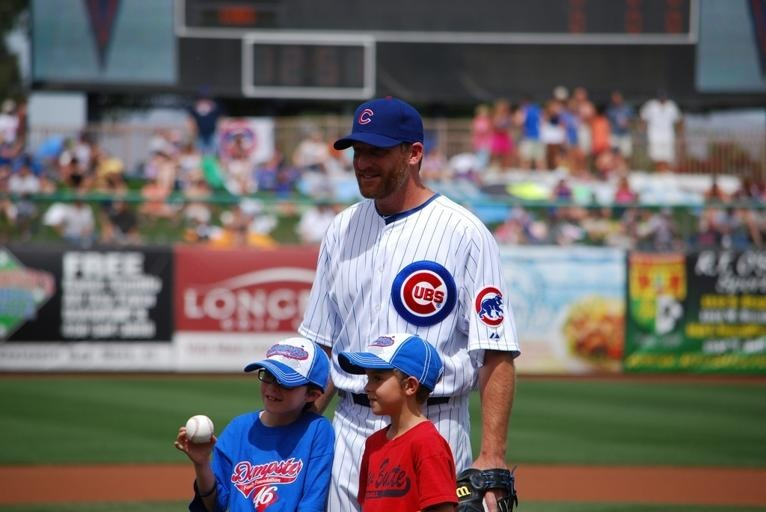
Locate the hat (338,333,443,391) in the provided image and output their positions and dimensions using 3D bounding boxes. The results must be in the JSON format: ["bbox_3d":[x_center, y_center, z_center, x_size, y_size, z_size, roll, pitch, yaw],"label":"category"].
[{"bbox_3d":[0.130,0.749,12.401,0.653,0.405,0.438,7,0,7],"label":"hat"}]

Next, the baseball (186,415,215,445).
[{"bbox_3d":[-1.423,1.309,12.503,0.182,0.217,0.206,5,-27,-1],"label":"baseball"}]

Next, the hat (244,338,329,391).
[{"bbox_3d":[-0.723,0.814,12.745,0.700,0.422,0.512,6,0,-41],"label":"hat"}]

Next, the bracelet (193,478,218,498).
[{"bbox_3d":[-1.386,1.790,12.476,0.122,0.138,0.037,1,34,5],"label":"bracelet"}]

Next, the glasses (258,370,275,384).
[{"bbox_3d":[-0.903,0.936,12.589,0.083,0.040,0.122,27,-8,30],"label":"glasses"}]

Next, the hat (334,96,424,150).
[{"bbox_3d":[0.001,-1.002,12.495,0.518,0.348,0.368,2,1,-28],"label":"hat"}]
